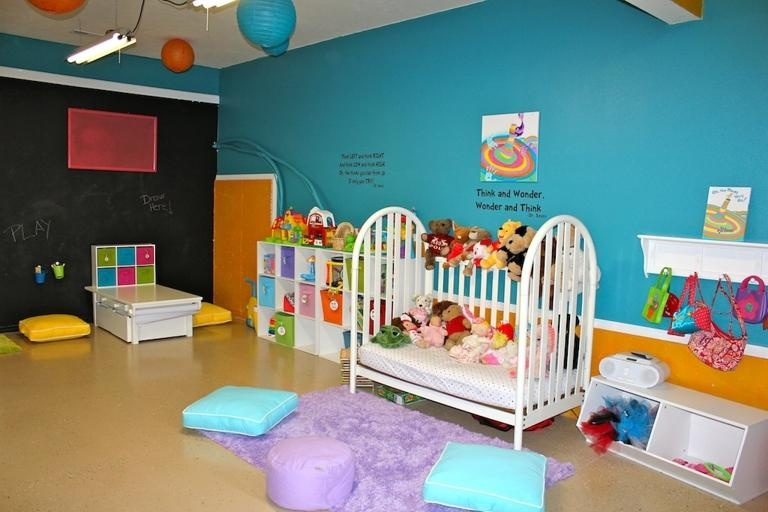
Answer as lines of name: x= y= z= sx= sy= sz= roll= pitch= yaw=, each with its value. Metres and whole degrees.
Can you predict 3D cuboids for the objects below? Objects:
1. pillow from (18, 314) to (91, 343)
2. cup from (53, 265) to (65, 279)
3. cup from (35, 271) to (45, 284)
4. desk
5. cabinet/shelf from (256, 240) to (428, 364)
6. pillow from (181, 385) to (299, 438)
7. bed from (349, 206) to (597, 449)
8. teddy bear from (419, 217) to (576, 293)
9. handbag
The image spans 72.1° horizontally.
pillow: x=-4.279 y=0.952 z=6.886 sx=0.724 sy=0.264 sz=0.592 roll=-8 pitch=16 yaw=-33
cup: x=-4.587 y=0.225 z=7.480 sx=0.169 sy=0.189 sz=0.170 roll=-2 pitch=-5 yaw=0
cup: x=-4.729 y=0.302 z=7.281 sx=0.139 sy=0.160 sz=0.147 roll=4 pitch=-4 yaw=0
desk: x=-3.245 y=0.752 z=7.277 sx=1.447 sy=0.595 sz=0.914 roll=13 pitch=18 yaw=41
cabinet/shelf: x=-0.428 y=0.529 z=6.011 sx=1.320 sy=0.921 sz=0.393 roll=10 pitch=16 yaw=43
pillow: x=-1.262 y=1.341 z=4.581 sx=0.512 sy=0.167 sz=0.542 roll=3 pitch=8 yaw=30
bed: x=0.865 y=0.709 z=4.882 sx=1.097 sy=1.818 sz=1.996 roll=-1 pitch=5 yaw=-43
teddy bear: x=1.010 y=-0.034 z=4.988 sx=0.761 sy=0.408 sz=0.757 roll=-8 pitch=14 yaw=-39
handbag: x=2.604 y=0.515 z=4.357 sx=0.843 sy=0.820 sz=0.321 roll=11 pitch=17 yaw=36
